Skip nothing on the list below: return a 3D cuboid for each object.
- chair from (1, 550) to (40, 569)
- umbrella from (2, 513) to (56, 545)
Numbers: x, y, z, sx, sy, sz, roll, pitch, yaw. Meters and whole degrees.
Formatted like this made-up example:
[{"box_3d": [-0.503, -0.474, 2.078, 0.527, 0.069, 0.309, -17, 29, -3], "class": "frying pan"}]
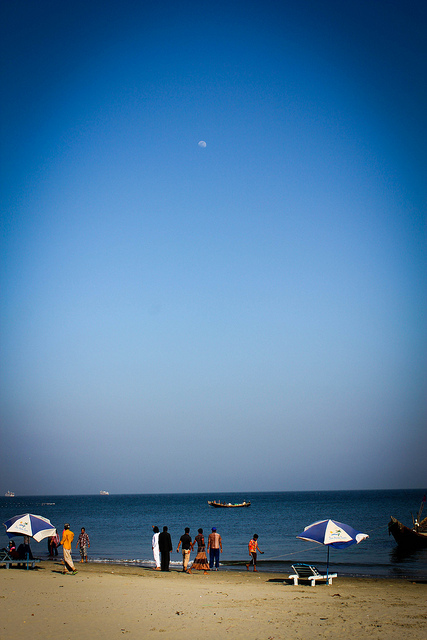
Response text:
[{"box_3d": [-7.279, 8.973, 31.206, 1.045, 0.749, 0.604, -1, -6, 1], "class": "chair"}, {"box_3d": [-6.572, 7.403, 29.997, 1.698, 1.271, 1.972, 5, -26, -10], "class": "umbrella"}]
